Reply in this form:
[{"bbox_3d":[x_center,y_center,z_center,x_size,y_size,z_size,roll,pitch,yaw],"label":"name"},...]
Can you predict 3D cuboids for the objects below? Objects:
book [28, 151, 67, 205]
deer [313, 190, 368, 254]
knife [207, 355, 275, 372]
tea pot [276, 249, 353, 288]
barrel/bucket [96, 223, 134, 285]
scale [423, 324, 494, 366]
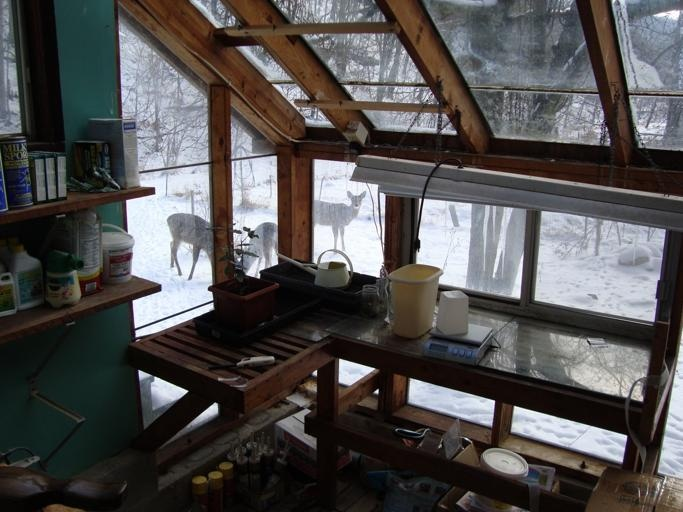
[{"bbox_3d":[-1.234,-0.350,2.242,0.185,0.252,0.249,-8,21,-34],"label":"book"},{"bbox_3d":[-0.030,-0.307,4.373,0.579,0.470,0.158,7,10,40],"label":"deer"},{"bbox_3d":[-0.499,0.543,2.623,0.334,0.060,0.106,0,11,-14],"label":"knife"},{"bbox_3d":[-0.165,0.092,3.466,0.578,0.253,0.226,19,31,35],"label":"tea pot"},{"bbox_3d":[-1.126,-0.021,2.592,0.144,0.283,0.214,-2,12,-22],"label":"barrel/bucket"},{"bbox_3d":[0.665,0.475,2.848,0.332,0.128,0.330,7,12,21],"label":"scale"}]
